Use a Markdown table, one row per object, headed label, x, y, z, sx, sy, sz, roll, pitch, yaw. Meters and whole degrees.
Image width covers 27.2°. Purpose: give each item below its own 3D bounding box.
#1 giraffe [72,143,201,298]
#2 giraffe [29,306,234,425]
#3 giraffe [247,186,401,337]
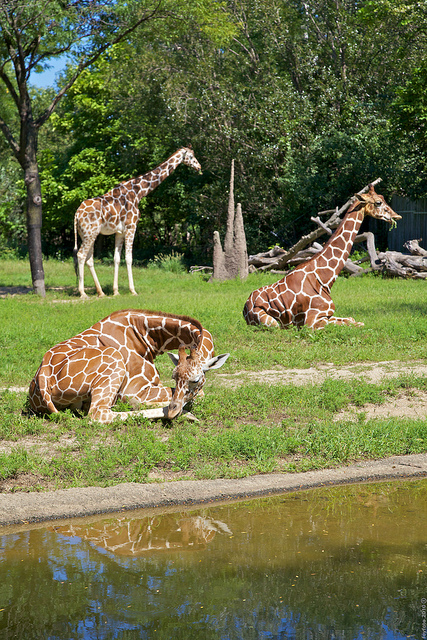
| label | x | y | z | sx | sy | sz | roll | pitch | yaw |
| --- | --- | --- | --- | --- | --- | --- | --- | --- | --- |
| giraffe | -1.858 | -1.876 | 16.996 | 0.976 | 2.515 | 3.249 | 7 | 14 | 24 |
| giraffe | -0.773 | 0.432 | 7.916 | 1.316 | 0.581 | 1.168 | -7 | 13 | -37 |
| giraffe | 1.459 | -0.816 | 11.986 | 2.013 | 1.881 | 0.845 | 0 | 2 | 6 |
